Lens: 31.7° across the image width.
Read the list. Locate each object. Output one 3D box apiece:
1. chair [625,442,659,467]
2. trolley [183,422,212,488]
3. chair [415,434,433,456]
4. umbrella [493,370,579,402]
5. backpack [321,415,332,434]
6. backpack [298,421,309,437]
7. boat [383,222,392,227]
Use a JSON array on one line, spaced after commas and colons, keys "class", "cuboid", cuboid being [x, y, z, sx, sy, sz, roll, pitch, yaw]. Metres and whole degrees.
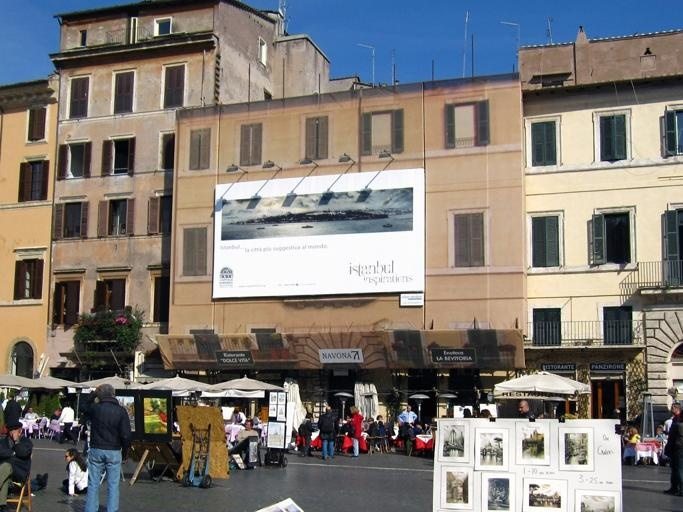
[{"class": "chair", "cuboid": [10.864, 7.236, 44.001, 0.863, 0.533, 0.910, -2, -8, 21]}, {"class": "trolley", "cuboid": [-4.453, 6.278, 37.589, 0.721, 1.930, 0.531, 3, -8, 11]}, {"class": "chair", "cuboid": [3.077, 7.255, 45.932, 0.676, 0.732, 0.719, -4, -18, 19]}, {"class": "umbrella", "cuboid": [7.173, 4.829, 44.450, 3.225, 1.011, 2.477, 1, -11, -12]}, {"class": "backpack", "cuboid": [-0.597, 6.191, 44.022, 0.588, 0.715, 0.359, 1, 3, 13]}, {"class": "backpack", "cuboid": [-1.430, 6.587, 45.796, 0.410, 0.599, 1.094, 0, -10, -5]}, {"class": "boat", "cuboid": [1.965, -1.377, 53.385, 0.386, 0.251, 0.070, -2, -10, 4]}]
